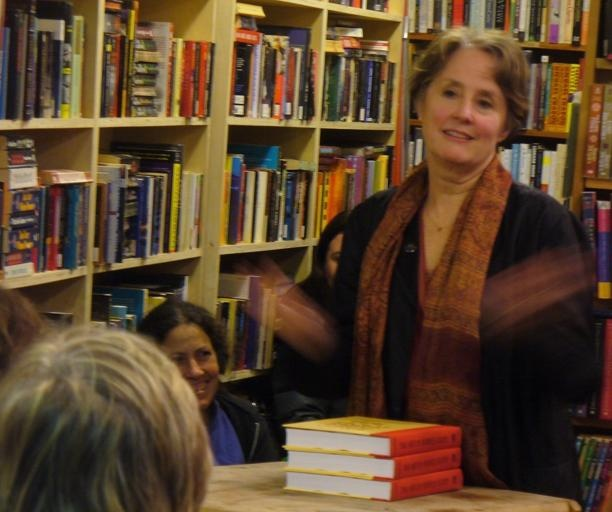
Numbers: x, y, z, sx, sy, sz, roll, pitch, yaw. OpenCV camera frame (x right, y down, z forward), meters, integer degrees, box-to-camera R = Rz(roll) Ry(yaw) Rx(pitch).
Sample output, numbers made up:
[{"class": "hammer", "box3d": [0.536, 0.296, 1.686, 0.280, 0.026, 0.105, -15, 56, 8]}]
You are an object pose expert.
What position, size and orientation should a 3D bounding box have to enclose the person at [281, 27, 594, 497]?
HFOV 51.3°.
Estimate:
[{"class": "person", "box3d": [0.324, -0.002, 1.376, 0.562, 0.996, 0.238, 3, 3, 38]}]
